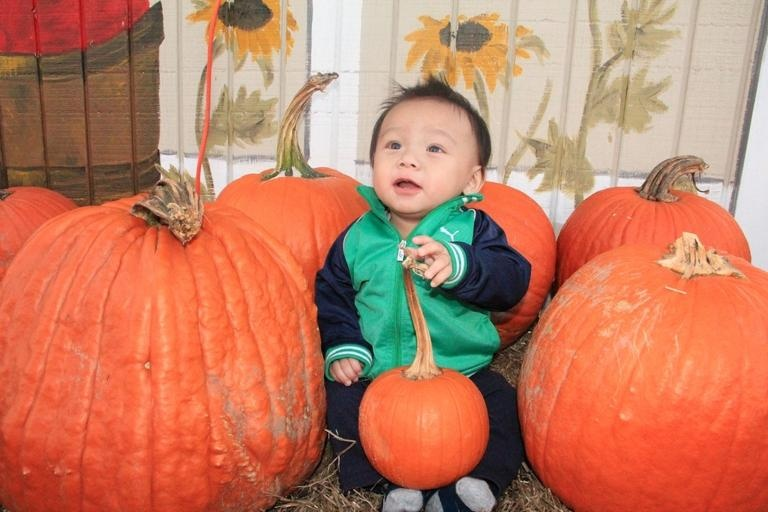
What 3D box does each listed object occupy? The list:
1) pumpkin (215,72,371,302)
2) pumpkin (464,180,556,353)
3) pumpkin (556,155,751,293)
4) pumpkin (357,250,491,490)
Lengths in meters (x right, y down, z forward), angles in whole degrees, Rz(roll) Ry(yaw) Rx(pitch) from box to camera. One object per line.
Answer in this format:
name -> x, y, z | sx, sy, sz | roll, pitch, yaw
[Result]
pumpkin -> -0.495, -0.373, 3.013 | 0.833, 1.098, 0.830 | 11, 18, 26
pumpkin -> 0.623, -0.008, 2.954 | 0.562, 0.669, 0.558 | 7, 51, 32
pumpkin -> 1.375, -0.182, 2.941 | 0.805, 0.751, 0.787 | -11, 12, -40
pumpkin -> 0.152, 0.461, 2.217 | 0.515, 0.870, 0.526 | -1, 1, -19
